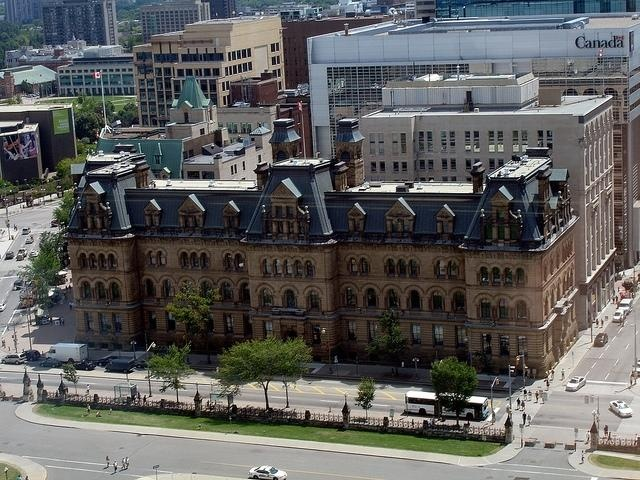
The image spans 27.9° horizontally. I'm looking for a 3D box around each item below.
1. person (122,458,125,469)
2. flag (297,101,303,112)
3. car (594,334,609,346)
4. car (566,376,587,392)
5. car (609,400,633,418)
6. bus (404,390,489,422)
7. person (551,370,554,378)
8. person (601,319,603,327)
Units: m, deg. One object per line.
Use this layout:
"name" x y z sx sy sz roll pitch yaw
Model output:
"person" -27.193 30.601 178.141 0.614 1.199 1.611 -4 9 -9
"flag" -5.025 -31.441 302.238 1.206 1.851 2.726 -2 9 -1
"car" 45.775 16.168 211.413 1.860 1.652 2.981 2 10 24
"car" 38.347 21.596 195.542 1.852 1.639 3.674 6 12 40
"car" 43.351 24.184 186.566 2.411 1.586 3.837 -4 9 -11
"bus" 17.427 24.033 188.653 13.429 3.594 4.425 1 7 21
"person" 35.519 20.392 198.865 0.342 1.138 0.458 6 2 26
"person" 47.891 13.923 220.708 0.219 1.031 0.709 3 -21 38
